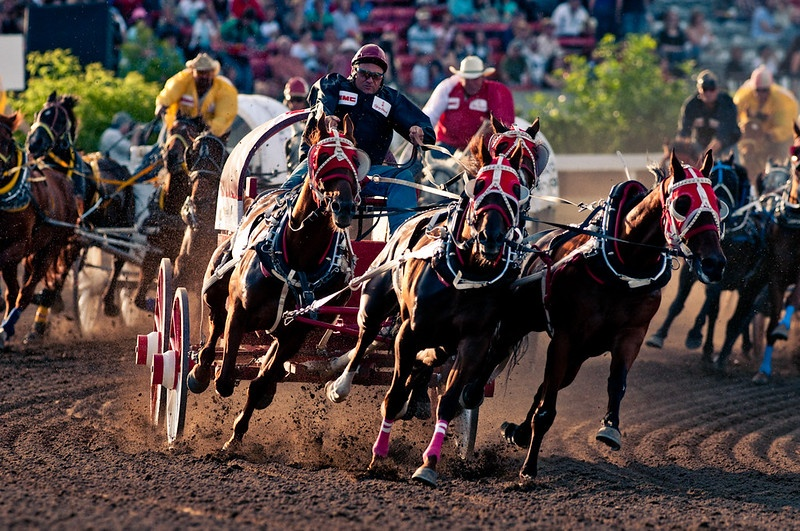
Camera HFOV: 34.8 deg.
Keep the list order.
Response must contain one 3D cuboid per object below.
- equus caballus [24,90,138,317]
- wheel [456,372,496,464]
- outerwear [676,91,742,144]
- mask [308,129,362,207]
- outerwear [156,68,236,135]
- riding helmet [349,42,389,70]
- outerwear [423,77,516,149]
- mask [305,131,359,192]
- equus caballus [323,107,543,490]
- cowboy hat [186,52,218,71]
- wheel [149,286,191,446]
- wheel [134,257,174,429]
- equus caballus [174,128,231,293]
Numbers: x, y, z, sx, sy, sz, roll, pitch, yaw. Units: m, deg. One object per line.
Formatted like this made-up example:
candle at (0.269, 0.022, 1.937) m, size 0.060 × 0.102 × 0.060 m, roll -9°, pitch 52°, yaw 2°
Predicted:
equus caballus at (-4.281, -0.664, 16.139) m, size 0.641 × 2.092 × 2.619 m, roll 0°, pitch 8°, yaw -5°
wheel at (0.767, 1.564, 12.943) m, size 0.088 × 0.658 × 0.844 m, roll 16°, pitch -20°, yaw 2°
outerwear at (4.416, -2.114, 18.328) m, size 0.774 × 0.796 × 0.877 m, roll 0°, pitch 1°, yaw -21°
mask at (-0.547, -0.927, 12.006) m, size 0.449 × 0.633 × 0.546 m, roll 4°, pitch 2°, yaw -1°
outerwear at (-2.455, -1.980, 15.621) m, size 0.820 × 0.634 × 0.970 m, roll 12°, pitch 16°, yaw -8°
riding helmet at (-0.287, -2.165, 13.295) m, size 0.298 × 0.262 × 0.348 m, roll 15°, pitch 18°, yaw 42°
outerwear at (0.807, -1.735, 14.723) m, size 1.210 × 0.958 × 0.608 m, roll 9°, pitch 4°, yaw 14°
mask at (-0.620, -0.974, 11.883) m, size 0.394 × 0.526 × 0.449 m, roll 4°, pitch 37°, yaw -2°
equus caballus at (0.387, 0.404, 12.195) m, size 1.564 × 3.253 × 1.069 m, roll 5°, pitch 13°, yaw 10°
cowboy hat at (-2.396, -2.563, 15.733) m, size 0.388 × 0.130 × 0.389 m, roll 1°, pitch -3°, yaw -1°
wheel at (-2.301, 1.050, 12.823) m, size 0.414 × 1.250 × 1.246 m, roll 0°, pitch -20°, yaw -9°
wheel at (-2.652, 0.869, 13.823) m, size 0.423 × 1.496 × 1.474 m, roll 2°, pitch 14°, yaw -10°
equus caballus at (-2.193, -0.619, 14.281) m, size 0.394 × 1.756 × 1.066 m, roll 11°, pitch 15°, yaw 3°
